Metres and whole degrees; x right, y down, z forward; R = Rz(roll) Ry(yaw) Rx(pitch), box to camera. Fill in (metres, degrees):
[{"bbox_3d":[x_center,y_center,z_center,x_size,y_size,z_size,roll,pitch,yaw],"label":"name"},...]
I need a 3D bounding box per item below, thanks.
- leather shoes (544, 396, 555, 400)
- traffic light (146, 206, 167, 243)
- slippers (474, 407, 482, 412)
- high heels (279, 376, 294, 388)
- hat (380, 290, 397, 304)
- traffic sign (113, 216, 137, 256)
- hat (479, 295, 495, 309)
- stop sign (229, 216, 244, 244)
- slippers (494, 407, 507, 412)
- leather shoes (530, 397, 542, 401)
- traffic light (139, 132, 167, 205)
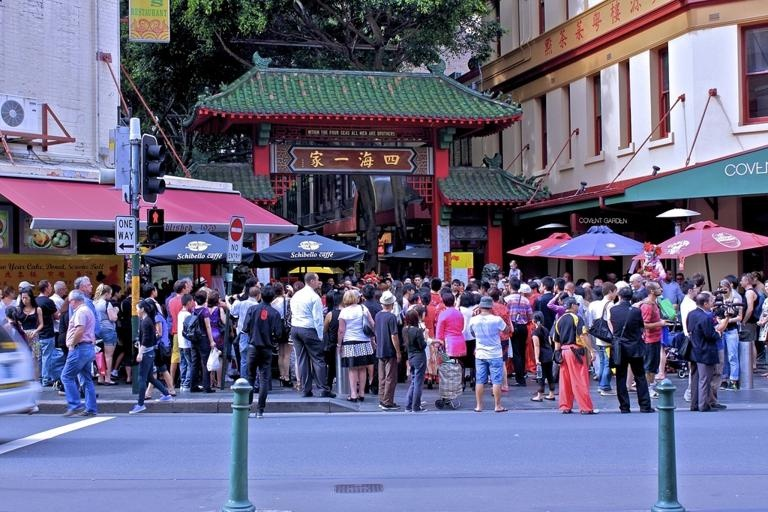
[{"bbox_3d":[4.221,3.563,39.722,0.208,0.077,0.118,6,3,30],"label":"leather shoes"},{"bbox_3d":[-5.706,-0.852,39.343,0.386,0.853,0.806,1,-4,-4],"label":"traffic light"},{"bbox_3d":[2.332,3.696,38.313,0.183,0.161,0.301,0,-4,2],"label":"slippers"},{"bbox_3d":[-2.488,3.351,41.766,0.508,0.197,0.159,4,-4,-41],"label":"high heels"},{"bbox_3d":[0.133,1.013,38.706,0.372,0.325,0.537,1,-4,0],"label":"hat"},{"bbox_3d":[-6.305,-0.547,38.528,0.498,0.922,0.330,2,-4,-13],"label":"traffic sign"},{"bbox_3d":[2.572,1.116,38.683,0.319,0.250,0.484,1,6,5],"label":"hat"},{"bbox_3d":[-3.790,-0.707,40.578,0.352,0.668,0.610,1,-4,-9],"label":"stop sign"},{"bbox_3d":[2.897,3.699,38.217,0.250,0.097,0.119,-4,2,-20],"label":"slippers"},{"bbox_3d":[3.868,3.558,39.377,0.226,0.089,0.110,3,0,17],"label":"leather shoes"},{"bbox_3d":[-5.695,-2.204,38.846,0.624,1.696,0.679,1,-4,-1],"label":"traffic light"}]
